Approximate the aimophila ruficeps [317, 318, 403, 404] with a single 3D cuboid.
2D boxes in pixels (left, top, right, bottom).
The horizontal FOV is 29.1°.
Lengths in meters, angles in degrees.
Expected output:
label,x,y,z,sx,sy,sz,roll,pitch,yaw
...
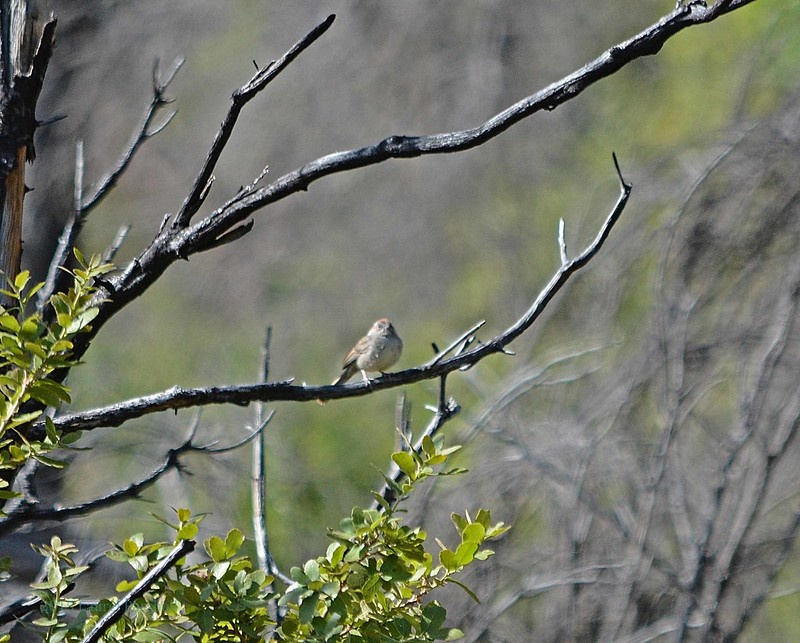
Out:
label,x,y,z,sx,sy,sz,roll,pitch,yaw
aimophila ruficeps,-0.314,0.241,12.104,0.869,0.258,0.538,-9,-85,46
